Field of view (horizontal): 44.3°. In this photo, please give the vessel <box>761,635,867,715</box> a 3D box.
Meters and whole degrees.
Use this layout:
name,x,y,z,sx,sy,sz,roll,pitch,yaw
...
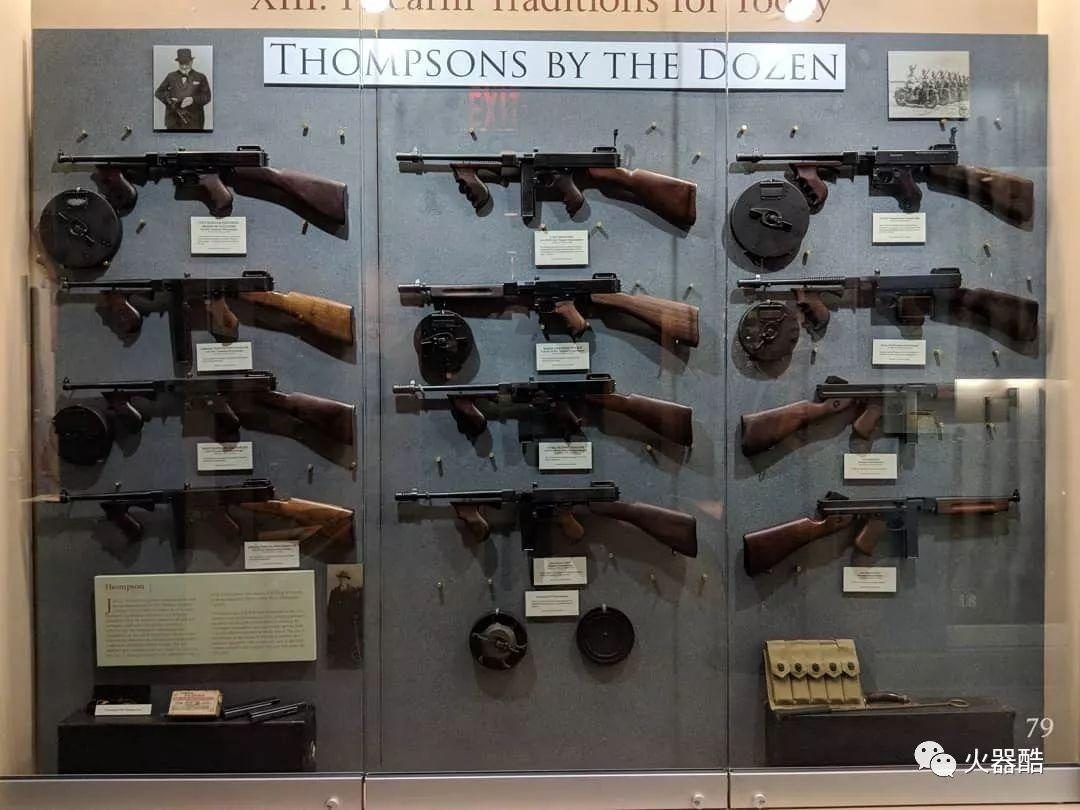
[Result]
name,x,y,z,sx,sy,sz,roll,pitch,yaw
vessel,1.545,1.527,7.372,0.432,0.395,0.144,-1,-5,-2
